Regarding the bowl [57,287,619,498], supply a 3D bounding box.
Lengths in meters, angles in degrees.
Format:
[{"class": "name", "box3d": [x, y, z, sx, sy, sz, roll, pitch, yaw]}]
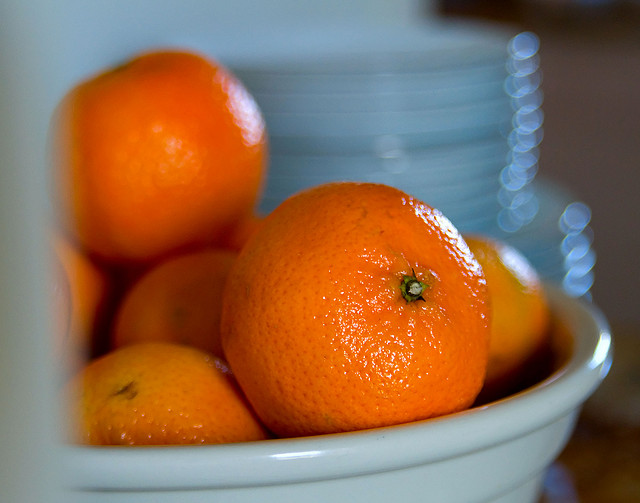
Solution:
[{"class": "bowl", "box3d": [0.027, 0.057, 0.291, 0.129, 0.051, 0.137, 0, 2, 0]}]

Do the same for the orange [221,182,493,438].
[{"class": "orange", "box3d": [0.025, 0.022, 0.377, 0.141, 0.147, 0.141, -8, 2, -4]}]

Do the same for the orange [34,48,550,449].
[{"class": "orange", "box3d": [-0.042, -0.014, 0.374, 0.172, 0.126, 0.300, -16, 71, -16]}]

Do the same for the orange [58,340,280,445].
[{"class": "orange", "box3d": [-0.061, 0.050, 0.311, 0.063, 0.064, 0.037, 5, 72, 45]}]

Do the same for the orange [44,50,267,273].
[{"class": "orange", "box3d": [-0.090, -0.064, 0.397, 0.119, 0.128, 0.116, 7, 18, 7]}]
